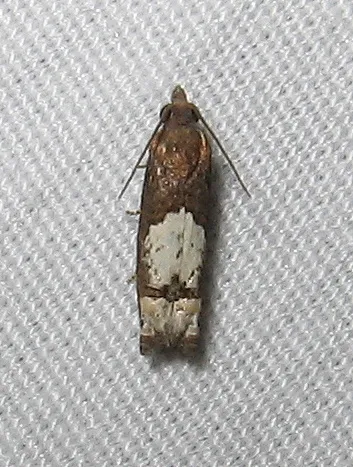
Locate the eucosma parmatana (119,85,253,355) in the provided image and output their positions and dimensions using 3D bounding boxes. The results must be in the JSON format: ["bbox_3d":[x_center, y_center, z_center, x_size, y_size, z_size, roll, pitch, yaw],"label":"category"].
[{"bbox_3d":[-0.006,-0.015,1.124,0.218,0.120,0.369,1,89,0],"label":"eucosma parmatana"}]
